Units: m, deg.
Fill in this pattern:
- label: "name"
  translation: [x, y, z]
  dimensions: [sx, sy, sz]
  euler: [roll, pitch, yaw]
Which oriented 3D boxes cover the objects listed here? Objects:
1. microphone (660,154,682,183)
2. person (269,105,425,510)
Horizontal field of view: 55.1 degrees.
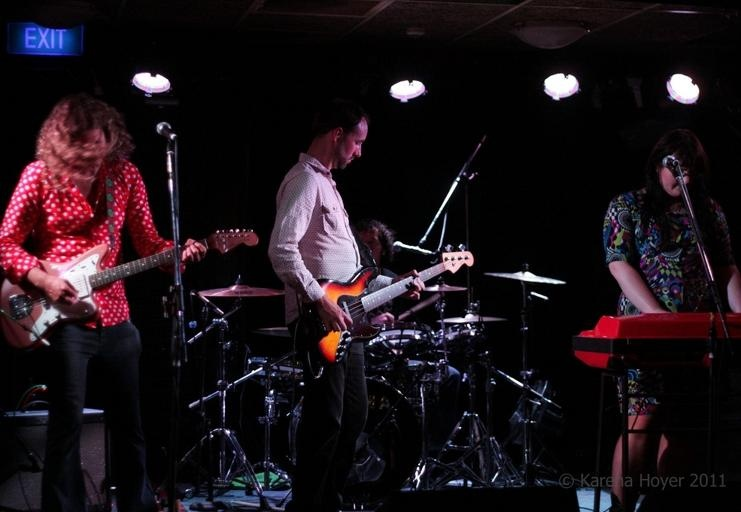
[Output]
- label: "microphone"
  translation: [1.819, -0.525, 4.281]
  dimensions: [0.105, 0.203, 0.047]
  euler: [-31, 4, -27]
- label: "person"
  translation: [-0.314, 0.287, 4.394]
  dimensions: [0.648, 2.516, 0.461]
  euler: [2, -11, -12]
